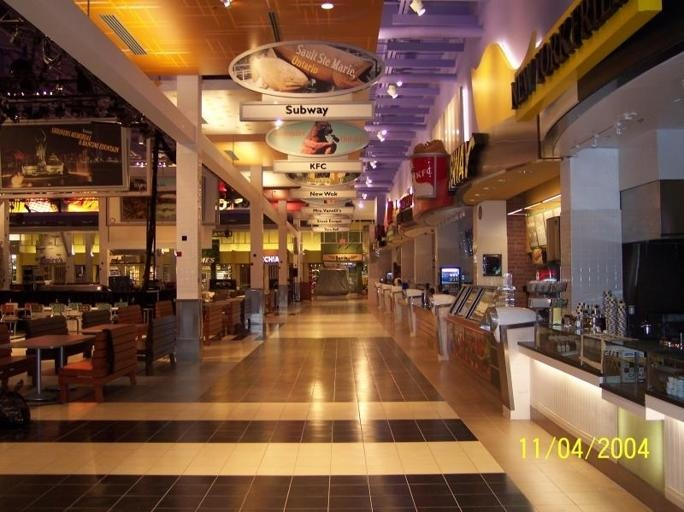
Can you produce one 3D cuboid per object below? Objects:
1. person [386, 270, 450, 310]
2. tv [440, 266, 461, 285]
[{"bbox_3d":[1.887,0.878,13.068,0.819,0.777,1.639,0,-1,0],"label":"person"},{"bbox_3d":[3.277,0.587,16.372,0.754,0.776,0.438,0,-6,6],"label":"tv"}]
